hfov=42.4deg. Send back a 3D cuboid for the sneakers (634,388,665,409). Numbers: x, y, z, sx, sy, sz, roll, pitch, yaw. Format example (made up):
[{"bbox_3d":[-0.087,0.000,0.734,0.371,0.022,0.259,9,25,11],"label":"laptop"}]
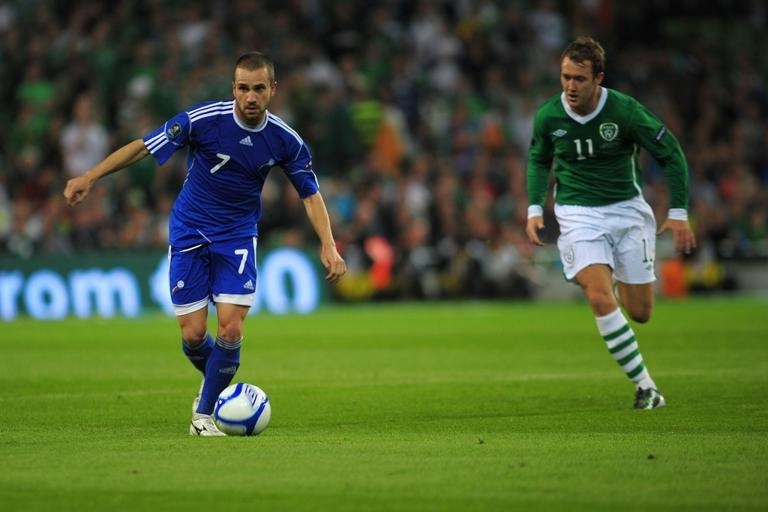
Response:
[{"bbox_3d":[2.607,1.388,9.781,0.275,0.196,0.175,-5,6,-28],"label":"sneakers"}]

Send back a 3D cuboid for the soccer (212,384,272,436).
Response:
[{"bbox_3d":[-1.317,1.370,9.088,0.440,0.445,0.429,-2,-23,-3],"label":"soccer"}]
